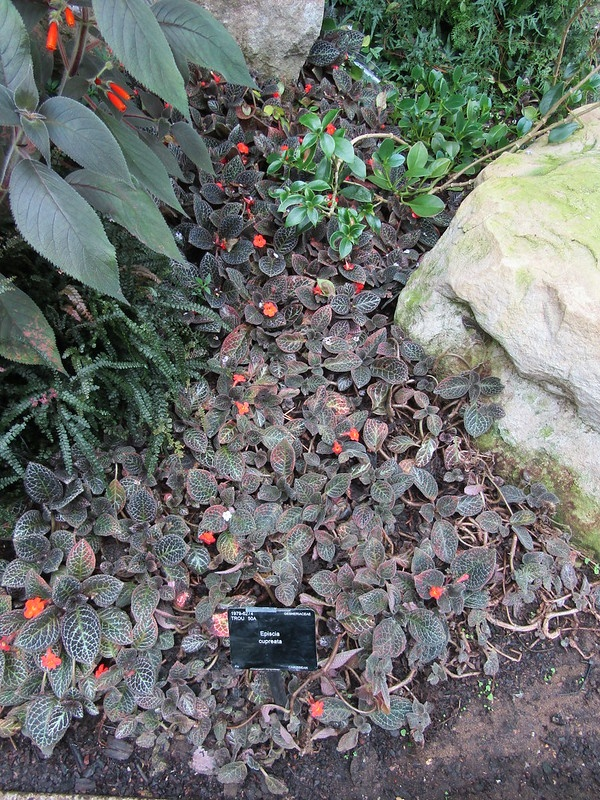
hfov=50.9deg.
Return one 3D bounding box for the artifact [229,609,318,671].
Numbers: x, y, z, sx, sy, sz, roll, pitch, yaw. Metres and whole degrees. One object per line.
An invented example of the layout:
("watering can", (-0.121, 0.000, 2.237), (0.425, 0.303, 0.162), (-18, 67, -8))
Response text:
("artifact", (-0.151, 0.884, 2.313), (0.326, 0.071, 0.220), (-9, 70, 21))
